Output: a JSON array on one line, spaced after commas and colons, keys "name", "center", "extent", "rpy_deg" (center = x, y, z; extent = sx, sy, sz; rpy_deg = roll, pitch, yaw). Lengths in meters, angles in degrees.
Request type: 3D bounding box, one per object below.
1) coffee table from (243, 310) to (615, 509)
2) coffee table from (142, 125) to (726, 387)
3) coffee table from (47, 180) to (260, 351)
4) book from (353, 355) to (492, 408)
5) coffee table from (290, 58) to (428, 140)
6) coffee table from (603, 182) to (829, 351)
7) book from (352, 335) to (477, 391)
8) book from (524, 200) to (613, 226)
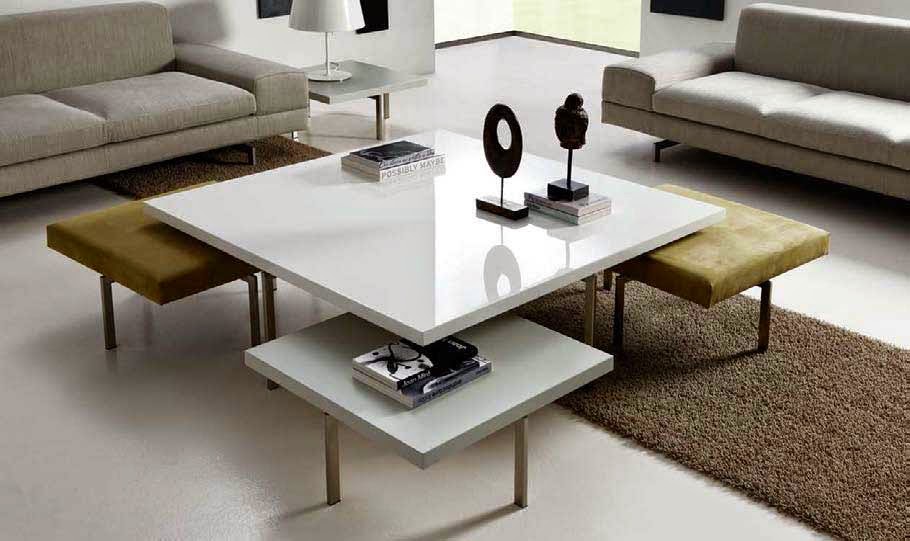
[{"name": "coffee table", "center": [-0.195, 0.414, 2.947], "extent": [0.957, 0.400, 0.959], "rpy_deg": [24, 35, 39]}, {"name": "coffee table", "center": [-0.024, -0.180, 3.522], "extent": [1.504, 0.322, 1.444], "rpy_deg": [22, 33, 38]}, {"name": "coffee table", "center": [-1.487, -0.084, 3.573], "extent": [0.871, 0.429, 0.837], "rpy_deg": [25, 35, 38]}, {"name": "book", "center": [-0.073, 0.434, 2.842], "extent": [0.249, 0.034, 0.270], "rpy_deg": [-19, 28, -40]}, {"name": "coffee table", "center": [-0.765, -1.489, 5.937], "extent": [0.816, 0.370, 0.819], "rpy_deg": [24, 34, 39]}, {"name": "coffee table", "center": [1.351, -0.099, 3.591], "extent": [0.823, 0.404, 0.814], "rpy_deg": [-24, 34, -37]}, {"name": "book", "center": [-0.175, 0.351, 2.903], "extent": [0.213, 0.055, 0.303], "rpy_deg": [17, 26, 42]}, {"name": "book", "center": [0.632, -0.291, 3.647], "extent": [0.191, 0.046, 0.207], "rpy_deg": [-17, 25, -39]}]
